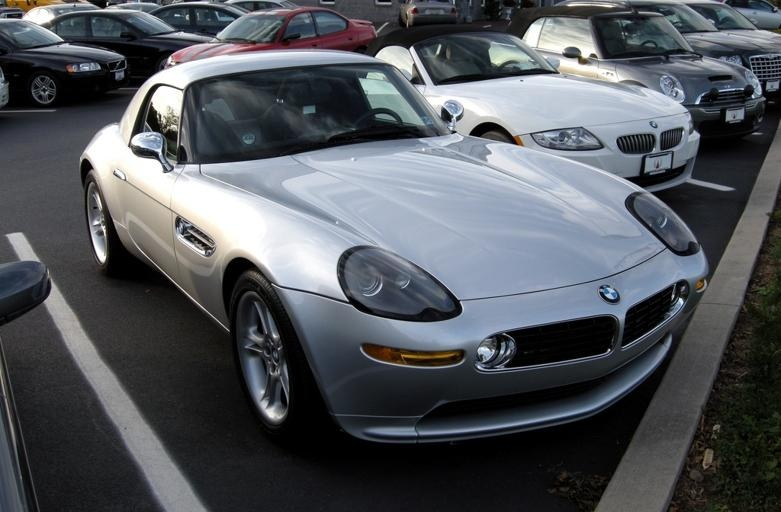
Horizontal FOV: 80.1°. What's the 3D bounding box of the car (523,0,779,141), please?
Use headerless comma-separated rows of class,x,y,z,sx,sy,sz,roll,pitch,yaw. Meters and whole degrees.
car,4.059,-3.351,8.406,2.562,1.866,4.146,-20,30,-35

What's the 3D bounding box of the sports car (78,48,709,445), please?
sports car,-0.457,-0.646,4.239,2.908,1.675,5.368,-12,26,-32
